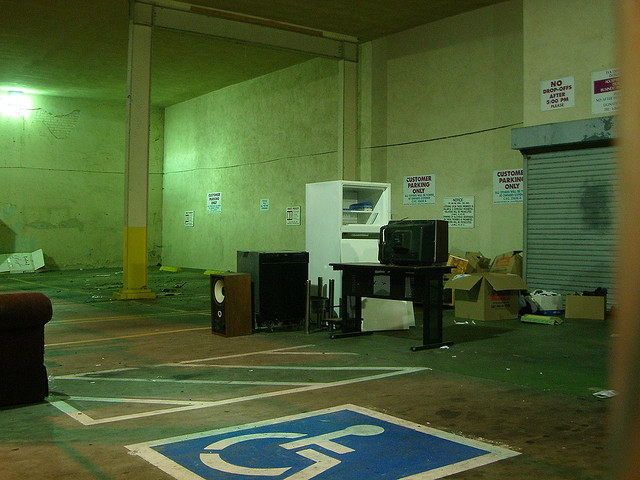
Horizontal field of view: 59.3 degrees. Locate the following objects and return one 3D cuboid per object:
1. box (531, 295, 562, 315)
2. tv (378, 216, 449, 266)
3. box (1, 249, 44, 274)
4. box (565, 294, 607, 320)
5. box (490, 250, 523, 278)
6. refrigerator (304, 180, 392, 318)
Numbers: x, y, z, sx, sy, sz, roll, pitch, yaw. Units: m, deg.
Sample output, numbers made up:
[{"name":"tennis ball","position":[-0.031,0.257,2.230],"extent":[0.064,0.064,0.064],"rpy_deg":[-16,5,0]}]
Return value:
[{"name":"box","position":[4.193,1.185,10.360],"extent":[0.408,0.228,0.394],"rpy_deg":[2,-3,-39]},{"name":"tv","position":[1.254,0.034,7.502],"extent":[0.890,0.592,0.500],"rpy_deg":[0,-4,44]},{"name":"box","position":[-11.189,0.788,21.122],"extent":[1.222,0.610,0.486],"rpy_deg":[-2,-14,-39]},{"name":"box","position":[4.592,1.154,9.747],"extent":[0.484,0.276,0.499],"rpy_deg":[0,-4,32]},{"name":"box","position":[3.825,0.483,11.501],"extent":[0.522,0.426,0.623],"rpy_deg":[4,-6,-33]},{"name":"refrigerator","position":[0.496,0.050,9.383],"extent":[1.683,1.665,1.071],"rpy_deg":[-1,0,-19]}]
